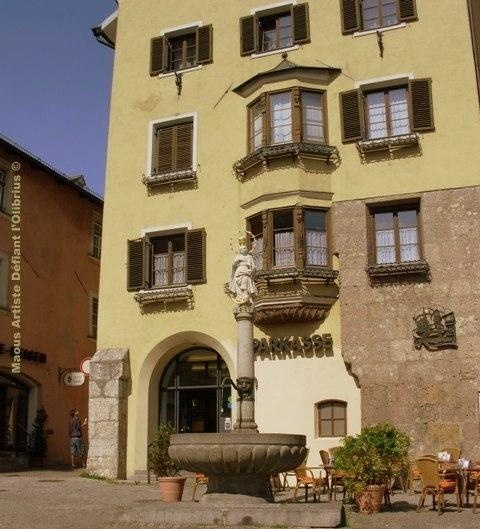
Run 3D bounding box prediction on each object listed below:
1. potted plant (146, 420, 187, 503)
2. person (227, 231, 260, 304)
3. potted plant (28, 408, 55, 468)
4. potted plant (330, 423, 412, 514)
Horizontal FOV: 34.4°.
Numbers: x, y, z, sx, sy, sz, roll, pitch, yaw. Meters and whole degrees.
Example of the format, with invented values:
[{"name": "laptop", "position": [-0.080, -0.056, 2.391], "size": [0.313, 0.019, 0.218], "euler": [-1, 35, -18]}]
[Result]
[{"name": "potted plant", "position": [-1.570, 4.109, 16.239], "size": [0.806, 1.693, 0.990], "euler": [-3, -15, 30]}, {"name": "person", "position": [0.053, 0.123, 15.984], "size": [0.488, 1.724, 0.376], "euler": [-1, -36, 0]}, {"name": "potted plant", "position": [-6.830, 5.898, 26.288], "size": [0.555, 1.984, 0.603], "euler": [3, -15, -17]}, {"name": "potted plant", "position": [2.356, 3.685, 13.961], "size": [1.291, 1.570, 0.683], "euler": [-3, -15, 6]}]
